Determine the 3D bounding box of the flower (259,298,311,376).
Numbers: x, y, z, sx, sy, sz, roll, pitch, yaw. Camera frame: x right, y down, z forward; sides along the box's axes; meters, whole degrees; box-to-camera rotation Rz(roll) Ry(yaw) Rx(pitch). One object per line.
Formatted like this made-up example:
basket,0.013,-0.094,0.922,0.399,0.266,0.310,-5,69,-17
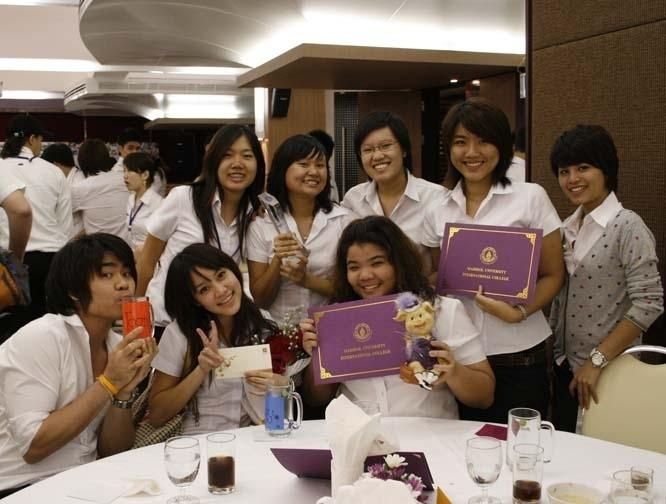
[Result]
flower,-0.193,0.409,2.417,0.223,0.313,0.239,-8,-8,33

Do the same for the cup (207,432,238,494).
cup,-0.341,0.636,1.607,0.087,0.178,0.095,0,7,0

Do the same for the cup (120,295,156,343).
cup,-0.721,0.238,1.938,0.151,0.165,0.094,1,-4,-34

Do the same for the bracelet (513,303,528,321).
bracelet,0.864,0.270,2.417,0.034,0.072,0.061,-6,11,-16

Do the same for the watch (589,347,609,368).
watch,1.181,0.471,2.362,0.053,0.086,0.078,-38,-7,18

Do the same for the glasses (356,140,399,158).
glasses,0.250,-0.567,2.902,0.203,0.076,0.075,1,7,12

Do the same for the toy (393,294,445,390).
toy,0.314,0.323,1.955,0.165,0.331,0.109,1,7,7

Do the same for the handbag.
handbag,-0.781,0.708,2.267,0.172,0.080,0.178,-14,32,-8

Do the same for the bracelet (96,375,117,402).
bracelet,-0.832,0.511,1.985,0.067,0.090,0.036,-41,3,44
